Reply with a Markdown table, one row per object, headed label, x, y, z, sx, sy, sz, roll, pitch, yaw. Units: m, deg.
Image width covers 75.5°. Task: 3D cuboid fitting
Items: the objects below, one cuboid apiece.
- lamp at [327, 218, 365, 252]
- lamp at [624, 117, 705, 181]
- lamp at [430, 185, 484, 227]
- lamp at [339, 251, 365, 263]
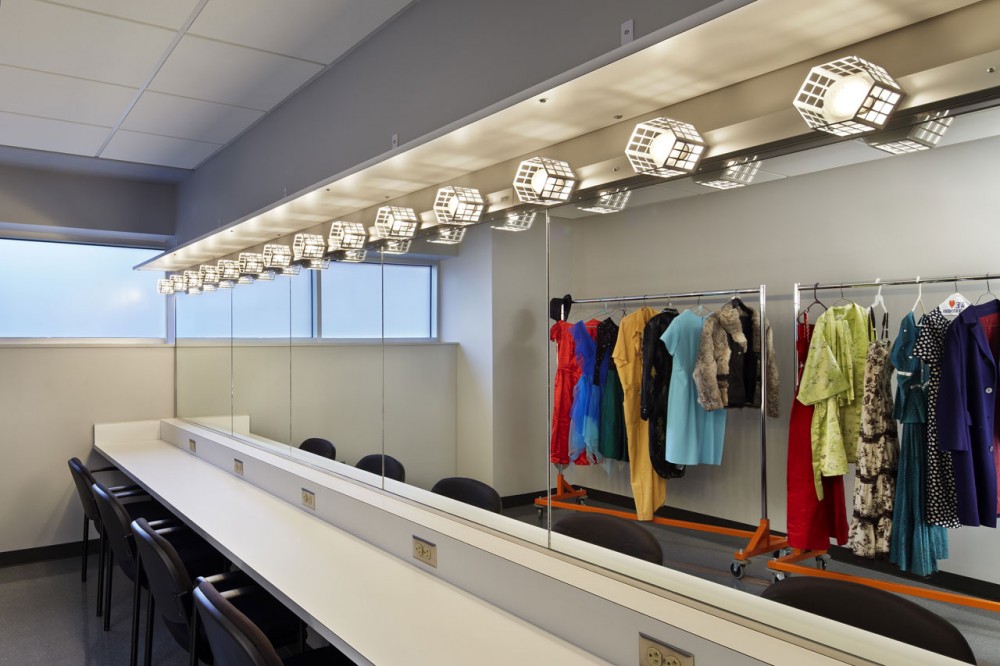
| label | x | y | z | sx | sy | sz | roll | pitch | yaw |
| --- | --- | --- | --- | --- | --- | --- | --- | --- | --- |
| lamp | -0.751 | -0.464 | 3.150 | 0.049 | 0.177 | 0.178 | -1 | 6 | -44 |
| lamp | 0.473 | -0.573 | 1.904 | 0.163 | 0.254 | 0.246 | 21 | 20 | 17 |
| lamp | -0.162 | -0.458 | 2.473 | 0.170 | 0.180 | 0.125 | 6 | 6 | 34 |
| lamp | -0.717 | -0.364 | 3.082 | 0.025 | 0.063 | 0.107 | -3 | 1 | -43 |
